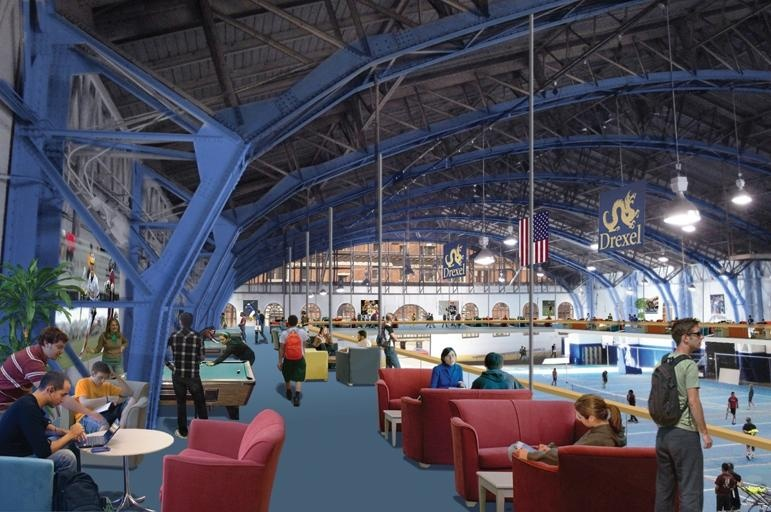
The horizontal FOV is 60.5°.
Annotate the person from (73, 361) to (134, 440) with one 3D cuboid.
[{"bbox_3d":[-4.653,2.536,10.970,0.990,1.466,1.121,3,3,-34],"label":"person"}]

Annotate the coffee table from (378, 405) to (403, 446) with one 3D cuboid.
[{"bbox_3d":[0.099,3.325,12.976,0.726,0.570,0.570,1,-10,-12],"label":"coffee table"}]

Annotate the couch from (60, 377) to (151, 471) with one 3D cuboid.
[{"bbox_3d":[-4.901,3.088,12.040,1.409,1.561,1.507,3,-19,-12],"label":"couch"}]

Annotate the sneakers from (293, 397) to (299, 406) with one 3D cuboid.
[{"bbox_3d":[-2.093,3.408,15.452,0.130,0.230,0.309,0,2,-2],"label":"sneakers"}]

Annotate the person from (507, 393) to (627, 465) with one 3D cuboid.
[{"bbox_3d":[2.729,2.504,9.701,1.260,1.297,1.006,0,-10,28],"label":"person"}]

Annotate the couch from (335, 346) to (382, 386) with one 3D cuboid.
[{"bbox_3d":[-0.806,3.040,18.606,1.205,1.271,1.153,1,-2,-15],"label":"couch"}]

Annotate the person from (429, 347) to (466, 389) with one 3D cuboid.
[{"bbox_3d":[1.145,2.132,12.871,0.849,1.046,0.683,2,-8,-11],"label":"person"}]

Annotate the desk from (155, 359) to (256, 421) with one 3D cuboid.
[{"bbox_3d":[-3.472,2.755,14.573,1.501,0.829,1.767,-1,-4,-3],"label":"desk"}]

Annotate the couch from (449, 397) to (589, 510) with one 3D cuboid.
[{"bbox_3d":[2.011,3.727,11.286,2.474,1.725,1.474,1,-16,-6],"label":"couch"}]

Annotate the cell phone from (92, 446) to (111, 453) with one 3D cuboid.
[{"bbox_3d":[-4.302,2.931,10.016,0.293,0.082,0.170,1,1,-1],"label":"cell phone"}]

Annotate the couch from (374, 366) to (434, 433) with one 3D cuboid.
[{"bbox_3d":[0.333,2.952,13.904,1.474,1.472,1.114,1,-15,-3],"label":"couch"}]

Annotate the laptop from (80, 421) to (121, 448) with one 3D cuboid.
[{"bbox_3d":[-4.397,2.750,10.096,0.328,0.221,0.347,11,-3,-10],"label":"laptop"}]

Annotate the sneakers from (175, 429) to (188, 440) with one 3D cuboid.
[{"bbox_3d":[-3.986,3.467,12.845,0.163,0.143,0.247,3,-4,-5],"label":"sneakers"}]

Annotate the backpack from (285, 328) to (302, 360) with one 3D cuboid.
[{"bbox_3d":[-2.167,2.076,15.452,0.404,0.749,0.393,0,2,-10],"label":"backpack"}]
